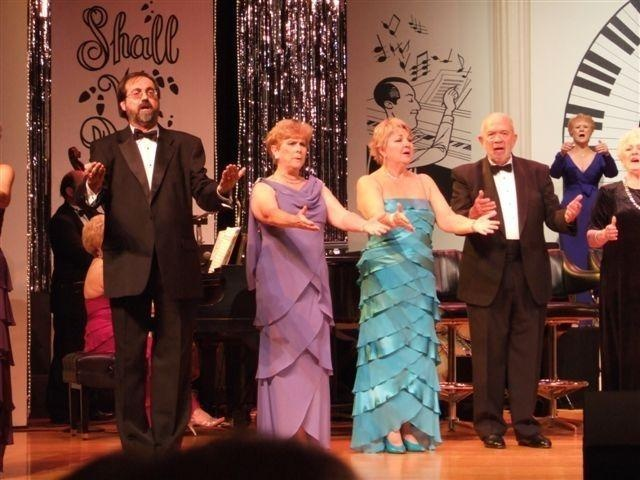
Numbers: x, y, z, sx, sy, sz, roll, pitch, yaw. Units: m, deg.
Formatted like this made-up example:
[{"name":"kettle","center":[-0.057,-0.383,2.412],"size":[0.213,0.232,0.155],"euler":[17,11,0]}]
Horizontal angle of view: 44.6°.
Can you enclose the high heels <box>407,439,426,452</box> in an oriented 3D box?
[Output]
[{"name":"high heels","center":[0.625,1.377,5.202],"size":[0.064,0.046,0.117],"euler":[8,-12,-42]}]

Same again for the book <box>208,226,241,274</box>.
[{"name":"book","center":[-0.738,0.052,5.974],"size":[0.301,0.320,0.074],"euler":[-12,-34,43]}]

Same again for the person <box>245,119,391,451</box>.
[{"name":"person","center":[-0.156,0.263,5.070],"size":[0.583,2.141,0.590],"euler":[1,-2,-37]}]

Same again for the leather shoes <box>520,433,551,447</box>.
[{"name":"leather shoes","center":[1.413,1.337,5.223],"size":[0.227,0.102,0.084],"euler":[-12,-11,39]}]

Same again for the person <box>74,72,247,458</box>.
[{"name":"person","center":[-0.957,0.124,4.543],"size":[0.839,2.251,0.743],"euler":[-1,-1,-20]}]

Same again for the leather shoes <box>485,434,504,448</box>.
[{"name":"leather shoes","center":[1.145,1.359,5.235],"size":[0.142,0.098,0.093],"euler":[-1,-2,20]}]
